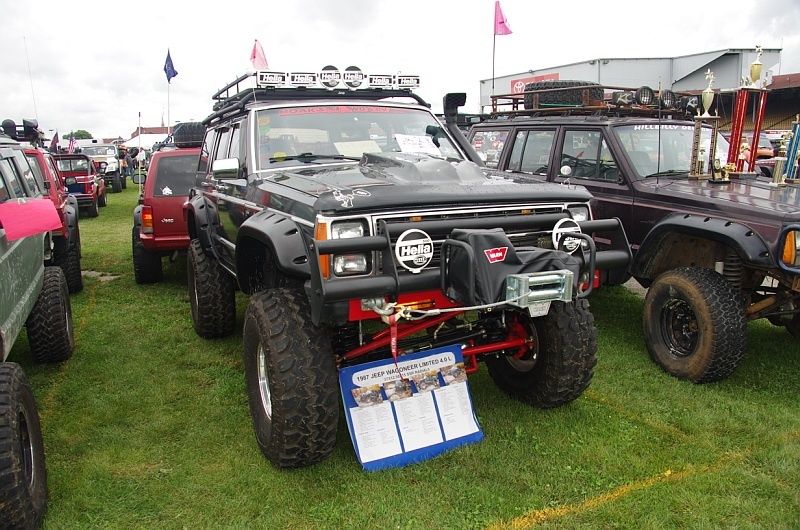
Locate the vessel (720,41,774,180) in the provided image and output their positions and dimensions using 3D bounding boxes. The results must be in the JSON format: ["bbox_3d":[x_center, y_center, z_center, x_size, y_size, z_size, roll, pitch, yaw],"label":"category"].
[{"bbox_3d":[4.400,-1.877,5.876,0.332,1.682,0.403,-12,24,-12],"label":"vessel"}]

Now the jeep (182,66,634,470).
[{"bbox_3d":[-0.357,-0.478,5.516,2.903,3.186,5.309,-5,9,-29],"label":"jeep"}]

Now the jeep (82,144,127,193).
[{"bbox_3d":[-15.412,-5.149,24.328,2.283,2.188,3.897,1,14,-23],"label":"jeep"}]

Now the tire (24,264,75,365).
[{"bbox_3d":[-3.893,0.586,5.186,0.339,0.952,0.956,-3,-13,-15],"label":"tire"}]

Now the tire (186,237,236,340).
[{"bbox_3d":[-2.346,0.299,5.862,0.334,1.004,1.026,-5,27,-28],"label":"tire"}]

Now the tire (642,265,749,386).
[{"bbox_3d":[3.125,0.652,4.943,0.430,1.293,1.155,-3,6,-26],"label":"tire"}]

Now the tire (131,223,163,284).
[{"bbox_3d":[-4.269,-0.200,7.931,0.331,0.970,0.981,-4,-3,-16],"label":"tire"}]

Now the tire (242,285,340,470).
[{"bbox_3d":[-0.888,0.940,3.829,0.517,1.406,0.915,-13,18,-38],"label":"tire"}]

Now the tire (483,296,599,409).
[{"bbox_3d":[1.250,0.788,4.222,0.407,1.103,1.025,-7,-3,-37],"label":"tire"}]

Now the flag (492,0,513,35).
[{"bbox_3d":[3.744,-9.200,17.305,0.504,1.126,1.175,1,15,12],"label":"flag"}]

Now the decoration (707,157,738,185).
[{"bbox_3d":[3.900,-1.141,5.718,0.382,0.429,0.233,-6,2,-21],"label":"decoration"}]

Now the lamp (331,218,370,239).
[{"bbox_3d":[-0.379,-0.262,3.388,0.186,0.129,0.061,-5,14,-23],"label":"lamp"}]
